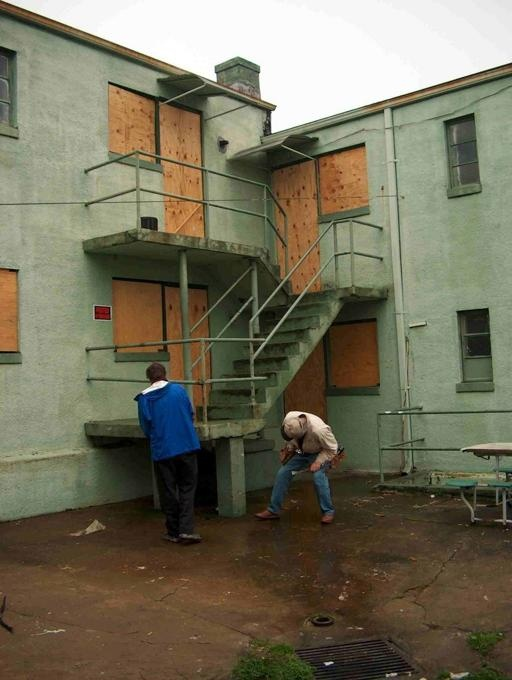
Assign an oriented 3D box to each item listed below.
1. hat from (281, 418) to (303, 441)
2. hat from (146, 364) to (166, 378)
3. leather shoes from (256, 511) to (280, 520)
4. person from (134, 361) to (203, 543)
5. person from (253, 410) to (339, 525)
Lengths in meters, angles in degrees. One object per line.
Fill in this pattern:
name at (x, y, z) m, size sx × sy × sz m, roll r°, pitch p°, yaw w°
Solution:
hat at (0.391, 1.009, 7.427) m, size 0.214 × 0.236 × 0.291 m, roll 2°, pitch 3°, yaw 34°
hat at (-1.058, 0.326, 6.941) m, size 0.160 × 0.161 × 0.182 m, roll -1°, pitch -8°, yaw -6°
leather shoes at (0.125, 2.070, 7.733) m, size 0.291 × 0.102 × 0.097 m, roll 3°, pitch -5°, yaw -5°
person at (-0.890, 1.251, 6.721) m, size 0.615 × 1.662 × 0.310 m, roll -3°, pitch -5°, yaw 3°
person at (0.493, 1.456, 7.539) m, size 0.853 × 1.258 × 0.599 m, roll -3°, pitch -5°, yaw 14°
